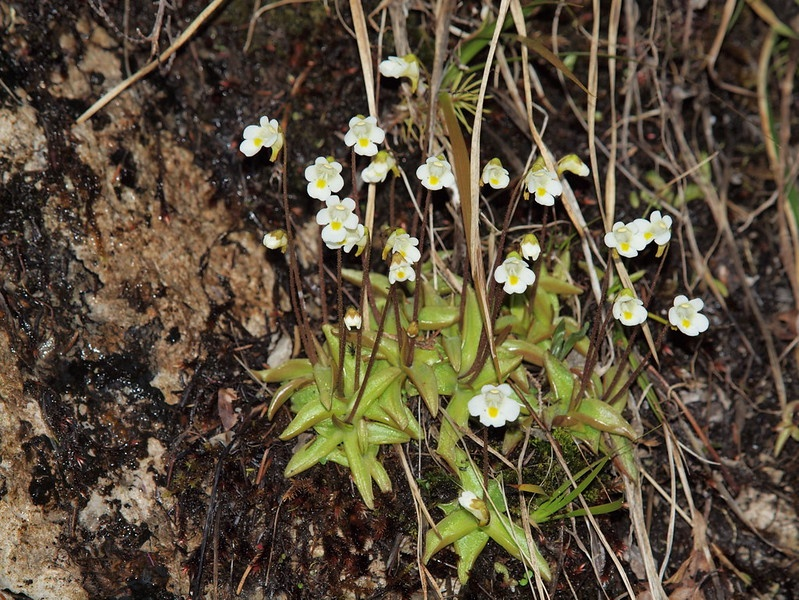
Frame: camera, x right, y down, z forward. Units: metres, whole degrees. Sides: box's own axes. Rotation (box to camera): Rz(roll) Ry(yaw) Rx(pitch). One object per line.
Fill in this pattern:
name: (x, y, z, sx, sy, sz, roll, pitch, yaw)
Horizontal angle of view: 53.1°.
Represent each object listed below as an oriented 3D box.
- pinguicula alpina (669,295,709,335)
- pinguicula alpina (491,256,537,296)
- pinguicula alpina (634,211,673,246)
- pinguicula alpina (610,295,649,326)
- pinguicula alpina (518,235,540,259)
pinguicula alpina: (1.623, 0.089, 4.568, 0.203, 0.106, 0.241, -11, 44, -1)
pinguicula alpina: (0.662, -0.146, 4.571, 0.173, 0.072, 0.230, -6, 95, -12)
pinguicula alpina: (1.472, -0.400, 4.613, 0.189, 0.078, 0.221, 28, 100, 19)
pinguicula alpina: (1.324, 0.071, 4.617, 0.189, 0.186, 0.161, -8, 68, 2)
pinguicula alpina: (0.753, -0.292, 4.587, 0.089, 0.057, 0.153, -4, 90, 27)
